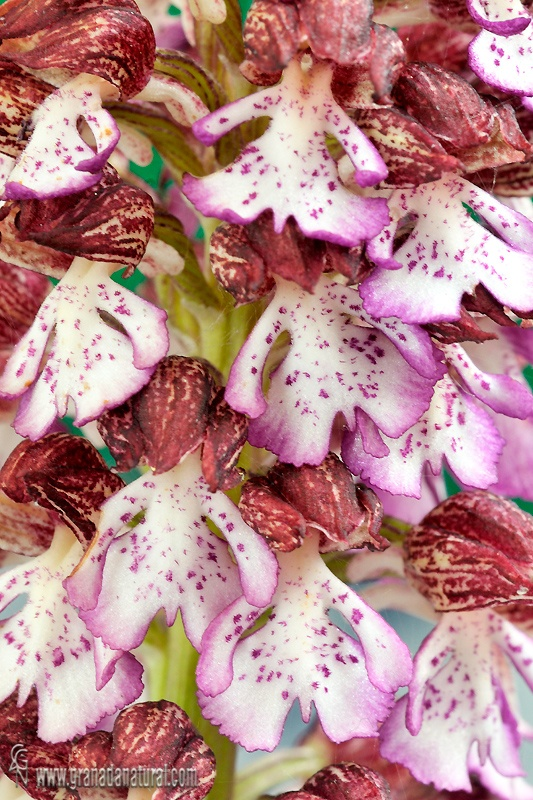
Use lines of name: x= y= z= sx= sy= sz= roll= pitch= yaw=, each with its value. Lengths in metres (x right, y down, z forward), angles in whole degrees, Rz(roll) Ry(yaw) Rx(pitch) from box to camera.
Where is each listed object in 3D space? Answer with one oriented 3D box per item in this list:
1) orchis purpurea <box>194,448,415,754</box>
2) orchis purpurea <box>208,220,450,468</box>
orchis purpurea: x=0.023 y=0.095 z=0.445 sx=0.138 sy=0.055 sz=0.186 roll=3 pitch=77 yaw=-17
orchis purpurea: x=0.022 y=-0.019 z=0.461 sx=0.120 sy=0.041 sz=0.153 roll=-37 pitch=89 yaw=-23
